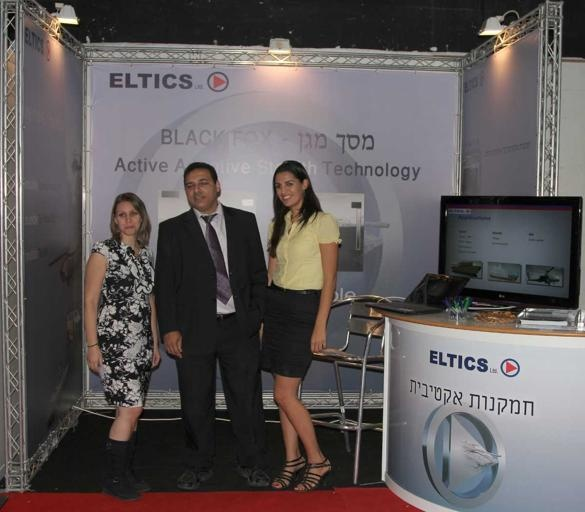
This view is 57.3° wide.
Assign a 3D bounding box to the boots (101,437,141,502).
[{"bbox_3d":[-1.070,1.320,3.339,0.271,0.366,0.136,6,3,29],"label":"boots"}]

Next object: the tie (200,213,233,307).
[{"bbox_3d":[-0.472,0.042,3.407,0.135,0.621,0.064,-10,-8,-14],"label":"tie"}]

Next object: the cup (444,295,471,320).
[{"bbox_3d":[0.985,0.310,3.198,0.116,0.153,0.137,5,-7,-6],"label":"cup"}]

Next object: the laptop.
[{"bbox_3d":[0.816,0.239,3.423,0.501,0.211,0.555,3,4,42],"label":"laptop"}]

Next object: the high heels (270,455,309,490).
[{"bbox_3d":[-0.027,1.422,3.504,0.096,0.140,0.318,-11,-11,17],"label":"high heels"}]

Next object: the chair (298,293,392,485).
[{"bbox_3d":[0.421,0.944,4.145,0.635,1.359,0.632,-2,-8,44],"label":"chair"}]

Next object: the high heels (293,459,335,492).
[{"bbox_3d":[0.155,1.444,3.525,0.114,0.126,0.312,-4,-12,24],"label":"high heels"}]

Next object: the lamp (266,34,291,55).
[{"bbox_3d":[-0.114,-1.848,4.689,0.202,0.160,0.171,1,3,11],"label":"lamp"}]

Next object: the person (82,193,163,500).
[{"bbox_3d":[-1.038,0.551,3.338,0.488,1.880,0.300,-1,3,-37],"label":"person"}]

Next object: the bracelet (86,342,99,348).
[{"bbox_3d":[-1.221,0.540,3.253,0.074,0.035,0.029,2,3,29],"label":"bracelet"}]
